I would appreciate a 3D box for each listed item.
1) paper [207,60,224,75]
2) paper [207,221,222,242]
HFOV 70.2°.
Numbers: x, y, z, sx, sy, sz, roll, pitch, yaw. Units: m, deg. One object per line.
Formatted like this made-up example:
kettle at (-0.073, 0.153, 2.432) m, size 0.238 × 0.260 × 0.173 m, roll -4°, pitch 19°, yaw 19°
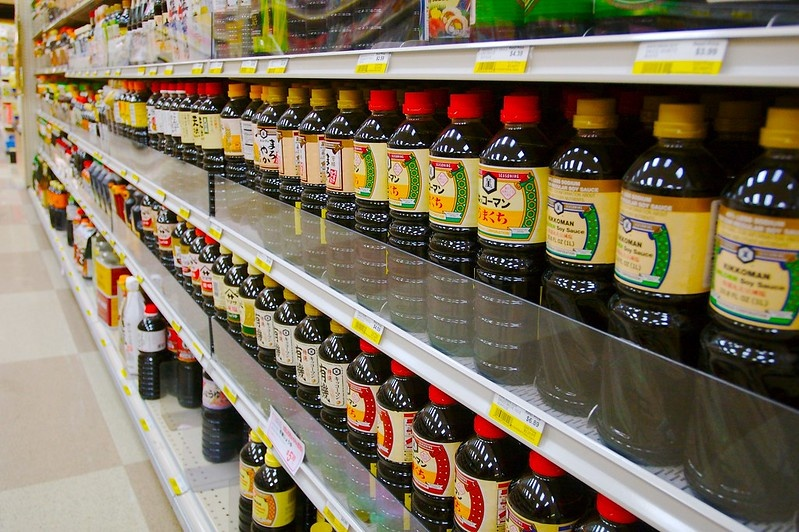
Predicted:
paper at (-0.712, -0.775, 2.220) m, size 0.020 × 0.083 × 0.087 m, roll 6°, pitch 4°, yaw -44°
paper at (-0.773, -0.150, 2.392) m, size 0.021 × 0.054 × 0.077 m, roll 2°, pitch 13°, yaw -44°
